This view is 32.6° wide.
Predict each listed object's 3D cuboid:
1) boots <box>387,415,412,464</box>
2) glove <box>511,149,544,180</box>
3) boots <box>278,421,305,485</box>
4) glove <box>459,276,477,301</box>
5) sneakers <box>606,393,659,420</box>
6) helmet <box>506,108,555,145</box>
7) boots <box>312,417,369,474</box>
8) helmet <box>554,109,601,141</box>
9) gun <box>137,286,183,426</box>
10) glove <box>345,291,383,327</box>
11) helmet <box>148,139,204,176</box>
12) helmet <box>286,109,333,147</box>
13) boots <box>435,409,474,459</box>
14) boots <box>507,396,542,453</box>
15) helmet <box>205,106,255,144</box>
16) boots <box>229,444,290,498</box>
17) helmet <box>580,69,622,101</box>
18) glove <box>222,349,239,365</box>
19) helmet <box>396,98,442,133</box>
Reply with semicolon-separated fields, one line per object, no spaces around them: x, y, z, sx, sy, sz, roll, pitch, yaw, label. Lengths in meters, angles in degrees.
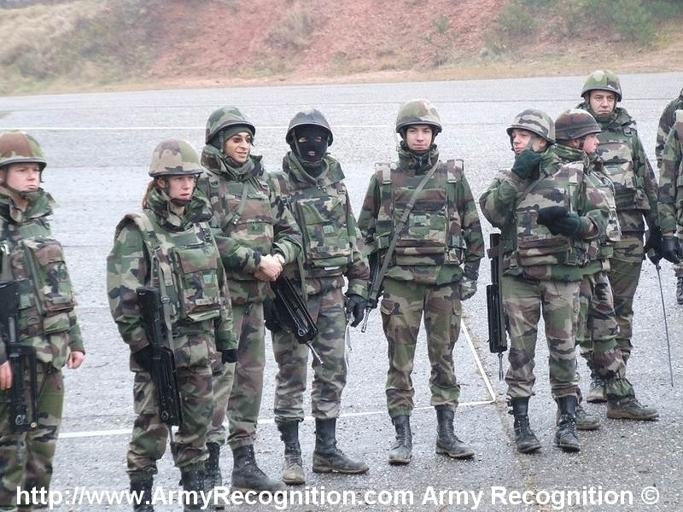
0.595;1.867;11.870;0.260;0.457;0.539;-4;2;14;boots
1.883;-0.940;12.094;0.281;0.322;0.329;-4;22;-1;glove
-0.501;1.976;11.750;0.302;0.600;0.687;-2;4;0;boots
1.311;0.329;12.165;0.194;0.206;0.089;9;-10;-14;glove
3.026;1.604;12.316;0.621;0.242;0.207;-1;6;6;sneakers
2.031;-1.350;12.230;0.486;0.308;0.352;-11;16;-34;helmet
0.026;1.916;11.752;0.668;0.538;0.308;-3;-6;26;boots
2.508;-1.419;12.418;0.449;0.302;0.575;-19;13;-35;helmet
-1.661;0.920;10.772;0.244;1.263;0.403;-8;14;-15;gun
0.181;0.525;12.099;0.295;0.362;0.145;34;33;16;glove
-1.603;-0.926;11.070;0.427;0.314;0.413;3;6;44;helmet
-0.315;-1.288;12.032;0.451;0.286;0.414;6;-4;-5;helmet
1.165;1.804;11.886;0.262;0.451;0.524;-1;1;-34;boots
1.866;1.738;11.963;0.258;0.505;0.577;-3;6;-4;boots
-1.092;-1.289;11.715;0.564;0.392;0.523;-1;4;0;helmet
-0.793;2.078;11.467;0.738;0.493;0.290;-5;-1;43;boots
2.918;-1.923;13.176;0.416;0.283;0.397;5;9;0;helmet
-1.064;0.951;11.174;0.162;0.131;0.104;-15;28;-20;glove
0.812;-1.409;12.249;0.559;0.361;0.505;-1;-7;-8;helmet
